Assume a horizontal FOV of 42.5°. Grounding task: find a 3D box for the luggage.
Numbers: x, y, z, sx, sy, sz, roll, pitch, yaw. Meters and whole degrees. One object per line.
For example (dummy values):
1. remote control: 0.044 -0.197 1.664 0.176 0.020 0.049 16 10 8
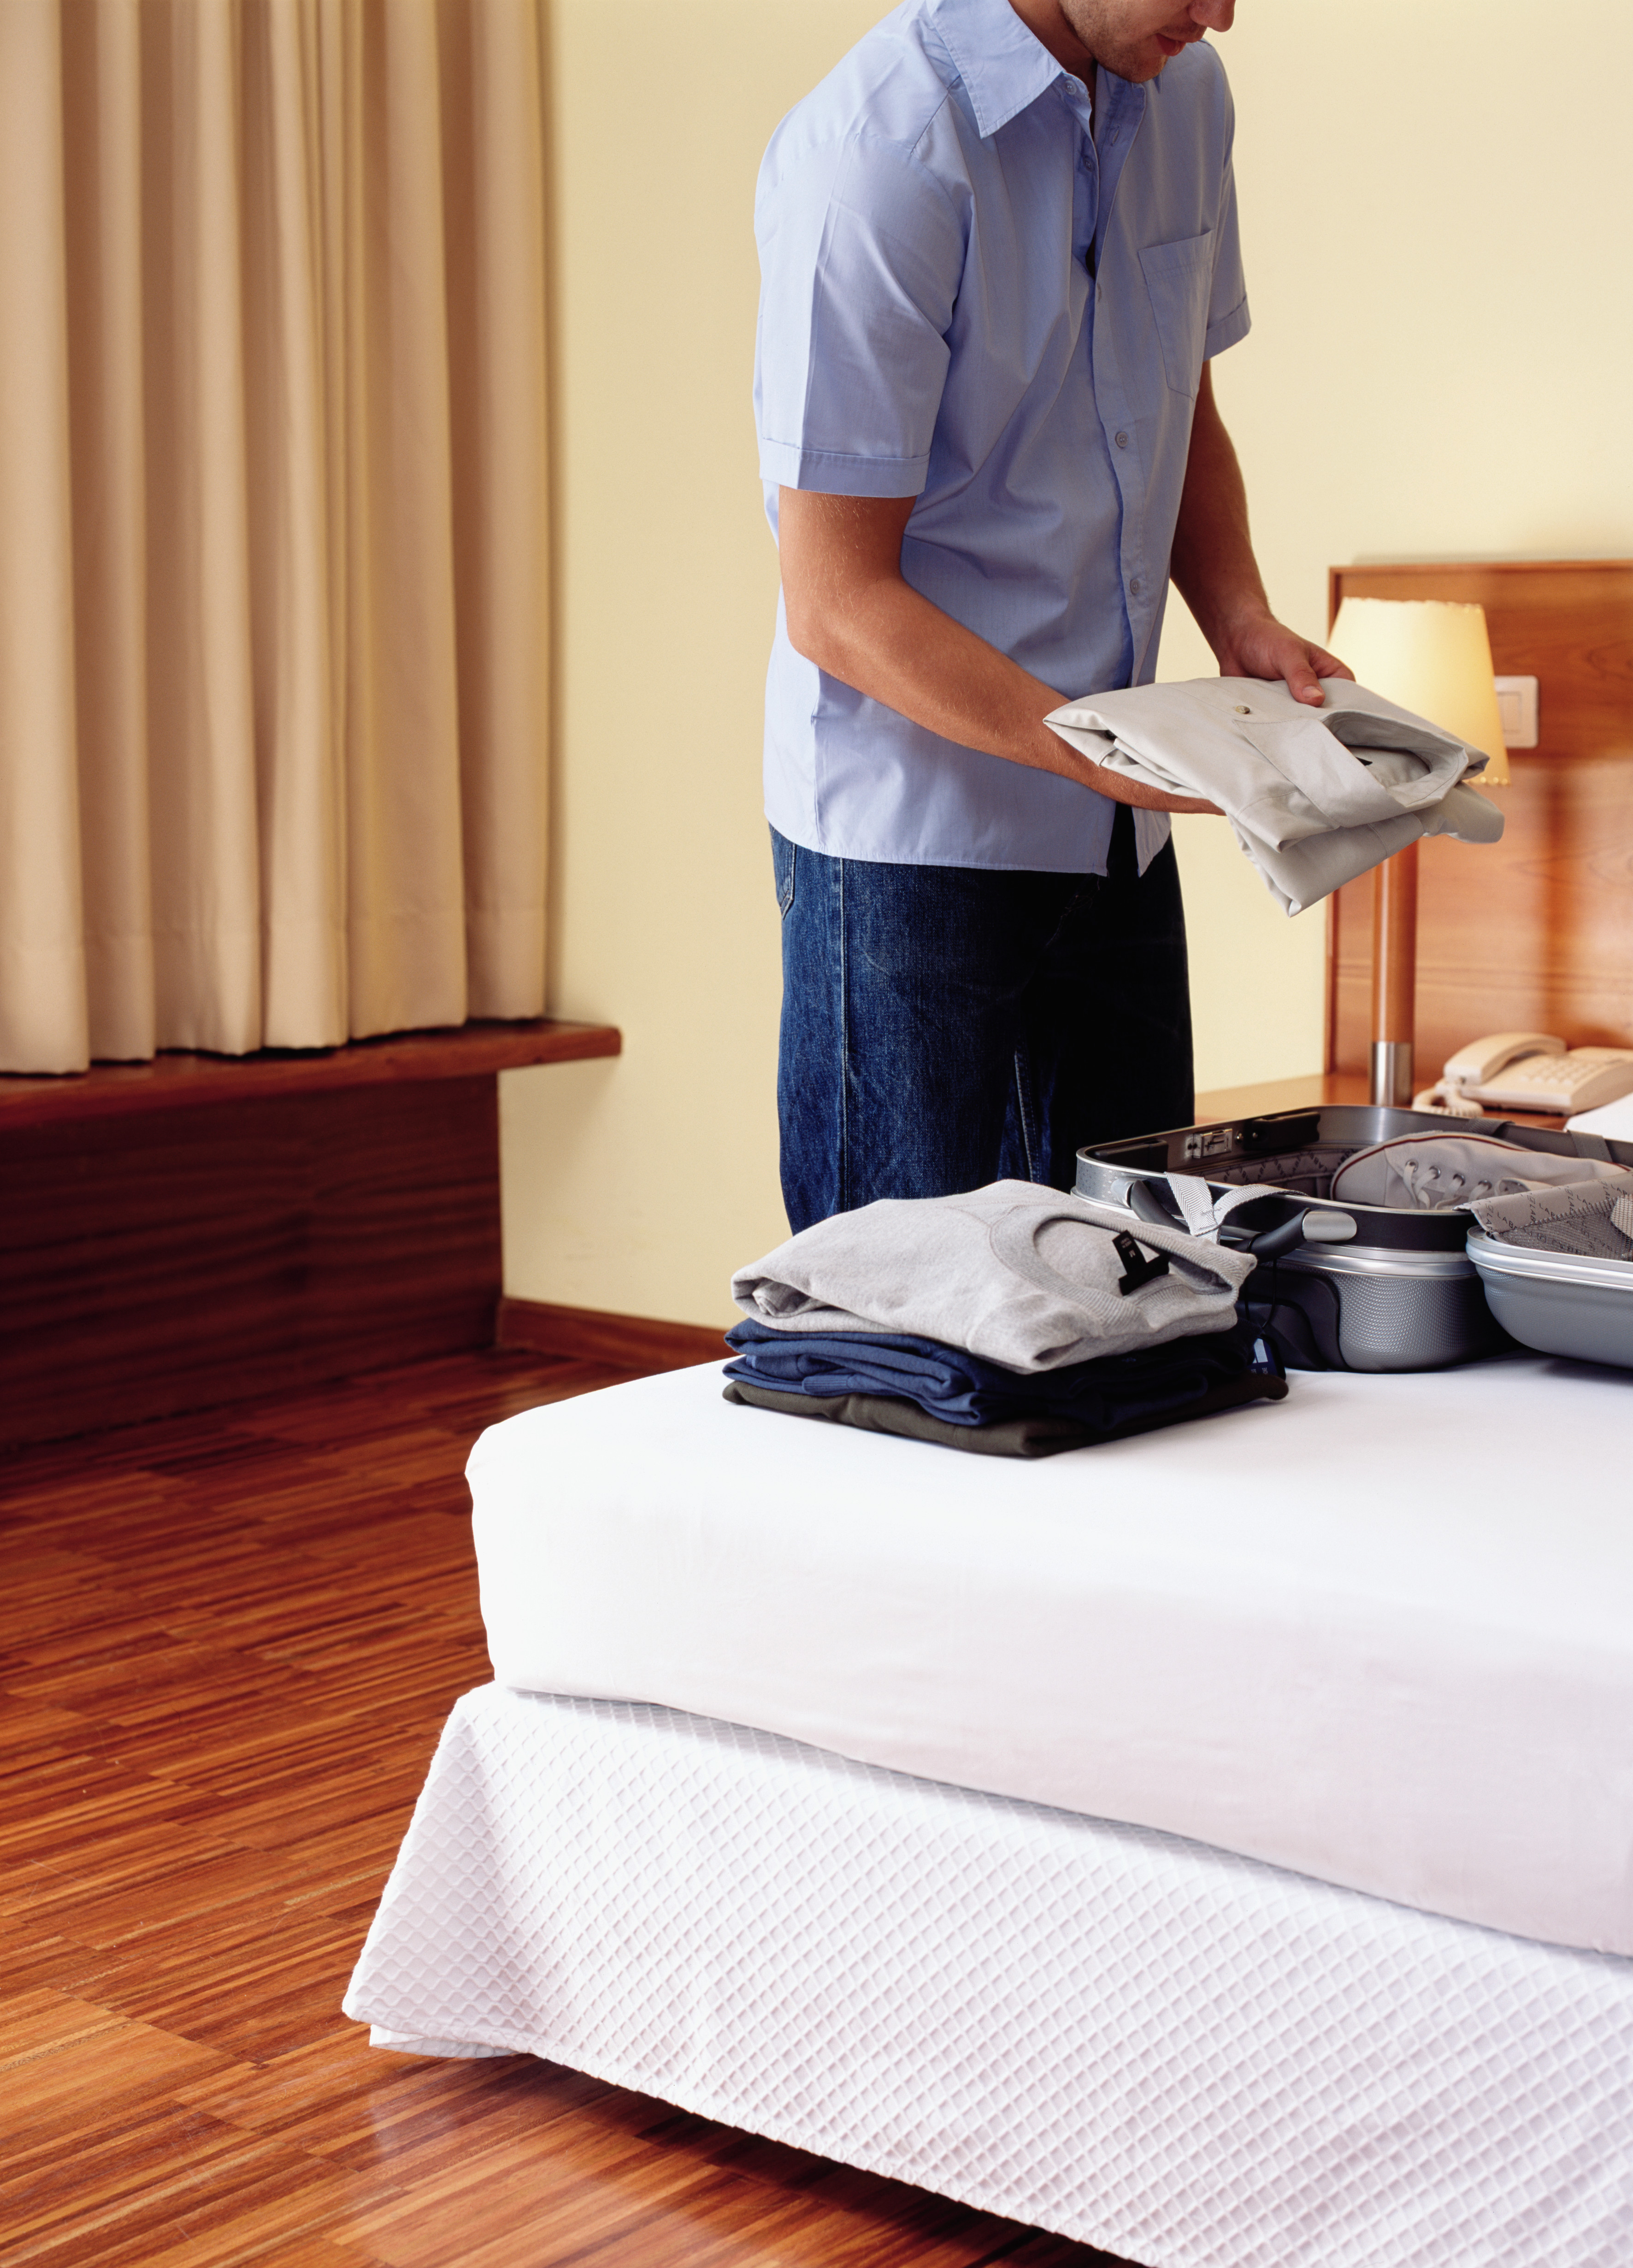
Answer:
1. luggage: 0.327 0.032 1.216 0.165 0.072 0.228 6 12 37
